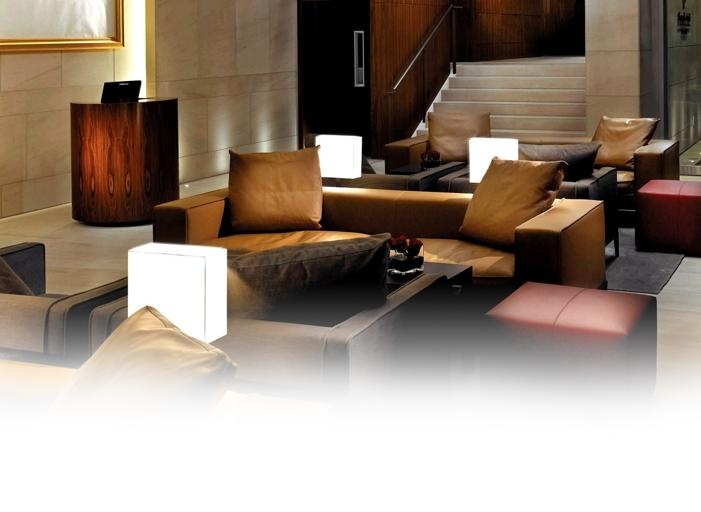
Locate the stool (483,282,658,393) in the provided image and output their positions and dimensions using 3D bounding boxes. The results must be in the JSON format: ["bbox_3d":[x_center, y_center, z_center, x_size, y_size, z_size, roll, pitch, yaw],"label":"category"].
[{"bbox_3d":[1.079,0.407,2.774,0.717,0.414,0.610,8,15,28],"label":"stool"}]

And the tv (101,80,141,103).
[{"bbox_3d":[-2.464,-1.781,6.228,0.446,0.279,0.280,-2,12,-20],"label":"tv"}]

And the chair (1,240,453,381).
[{"bbox_3d":[-0.426,0.139,2.102,1.569,0.460,0.698,2,13,3],"label":"chair"}]
